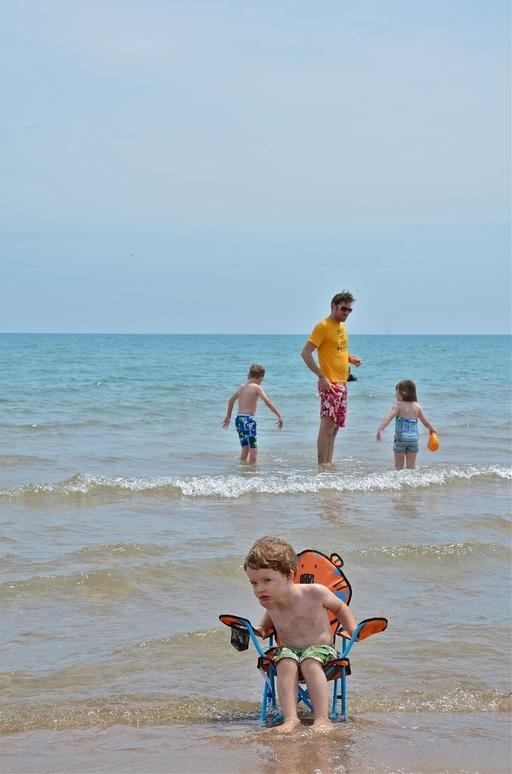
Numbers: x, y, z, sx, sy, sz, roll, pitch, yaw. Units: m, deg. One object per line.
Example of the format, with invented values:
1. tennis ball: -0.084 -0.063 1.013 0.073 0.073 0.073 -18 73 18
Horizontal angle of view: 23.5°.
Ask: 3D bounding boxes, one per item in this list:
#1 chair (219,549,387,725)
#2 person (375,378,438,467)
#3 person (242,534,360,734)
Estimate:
1. chair: 0.274 1.152 5.517 0.722 0.766 0.724 -2 -4 30
2. person: 1.436 0.413 11.870 0.488 0.919 1.033 2 10 10
3. person: 0.176 1.093 5.508 0.476 0.809 0.541 2 10 11
